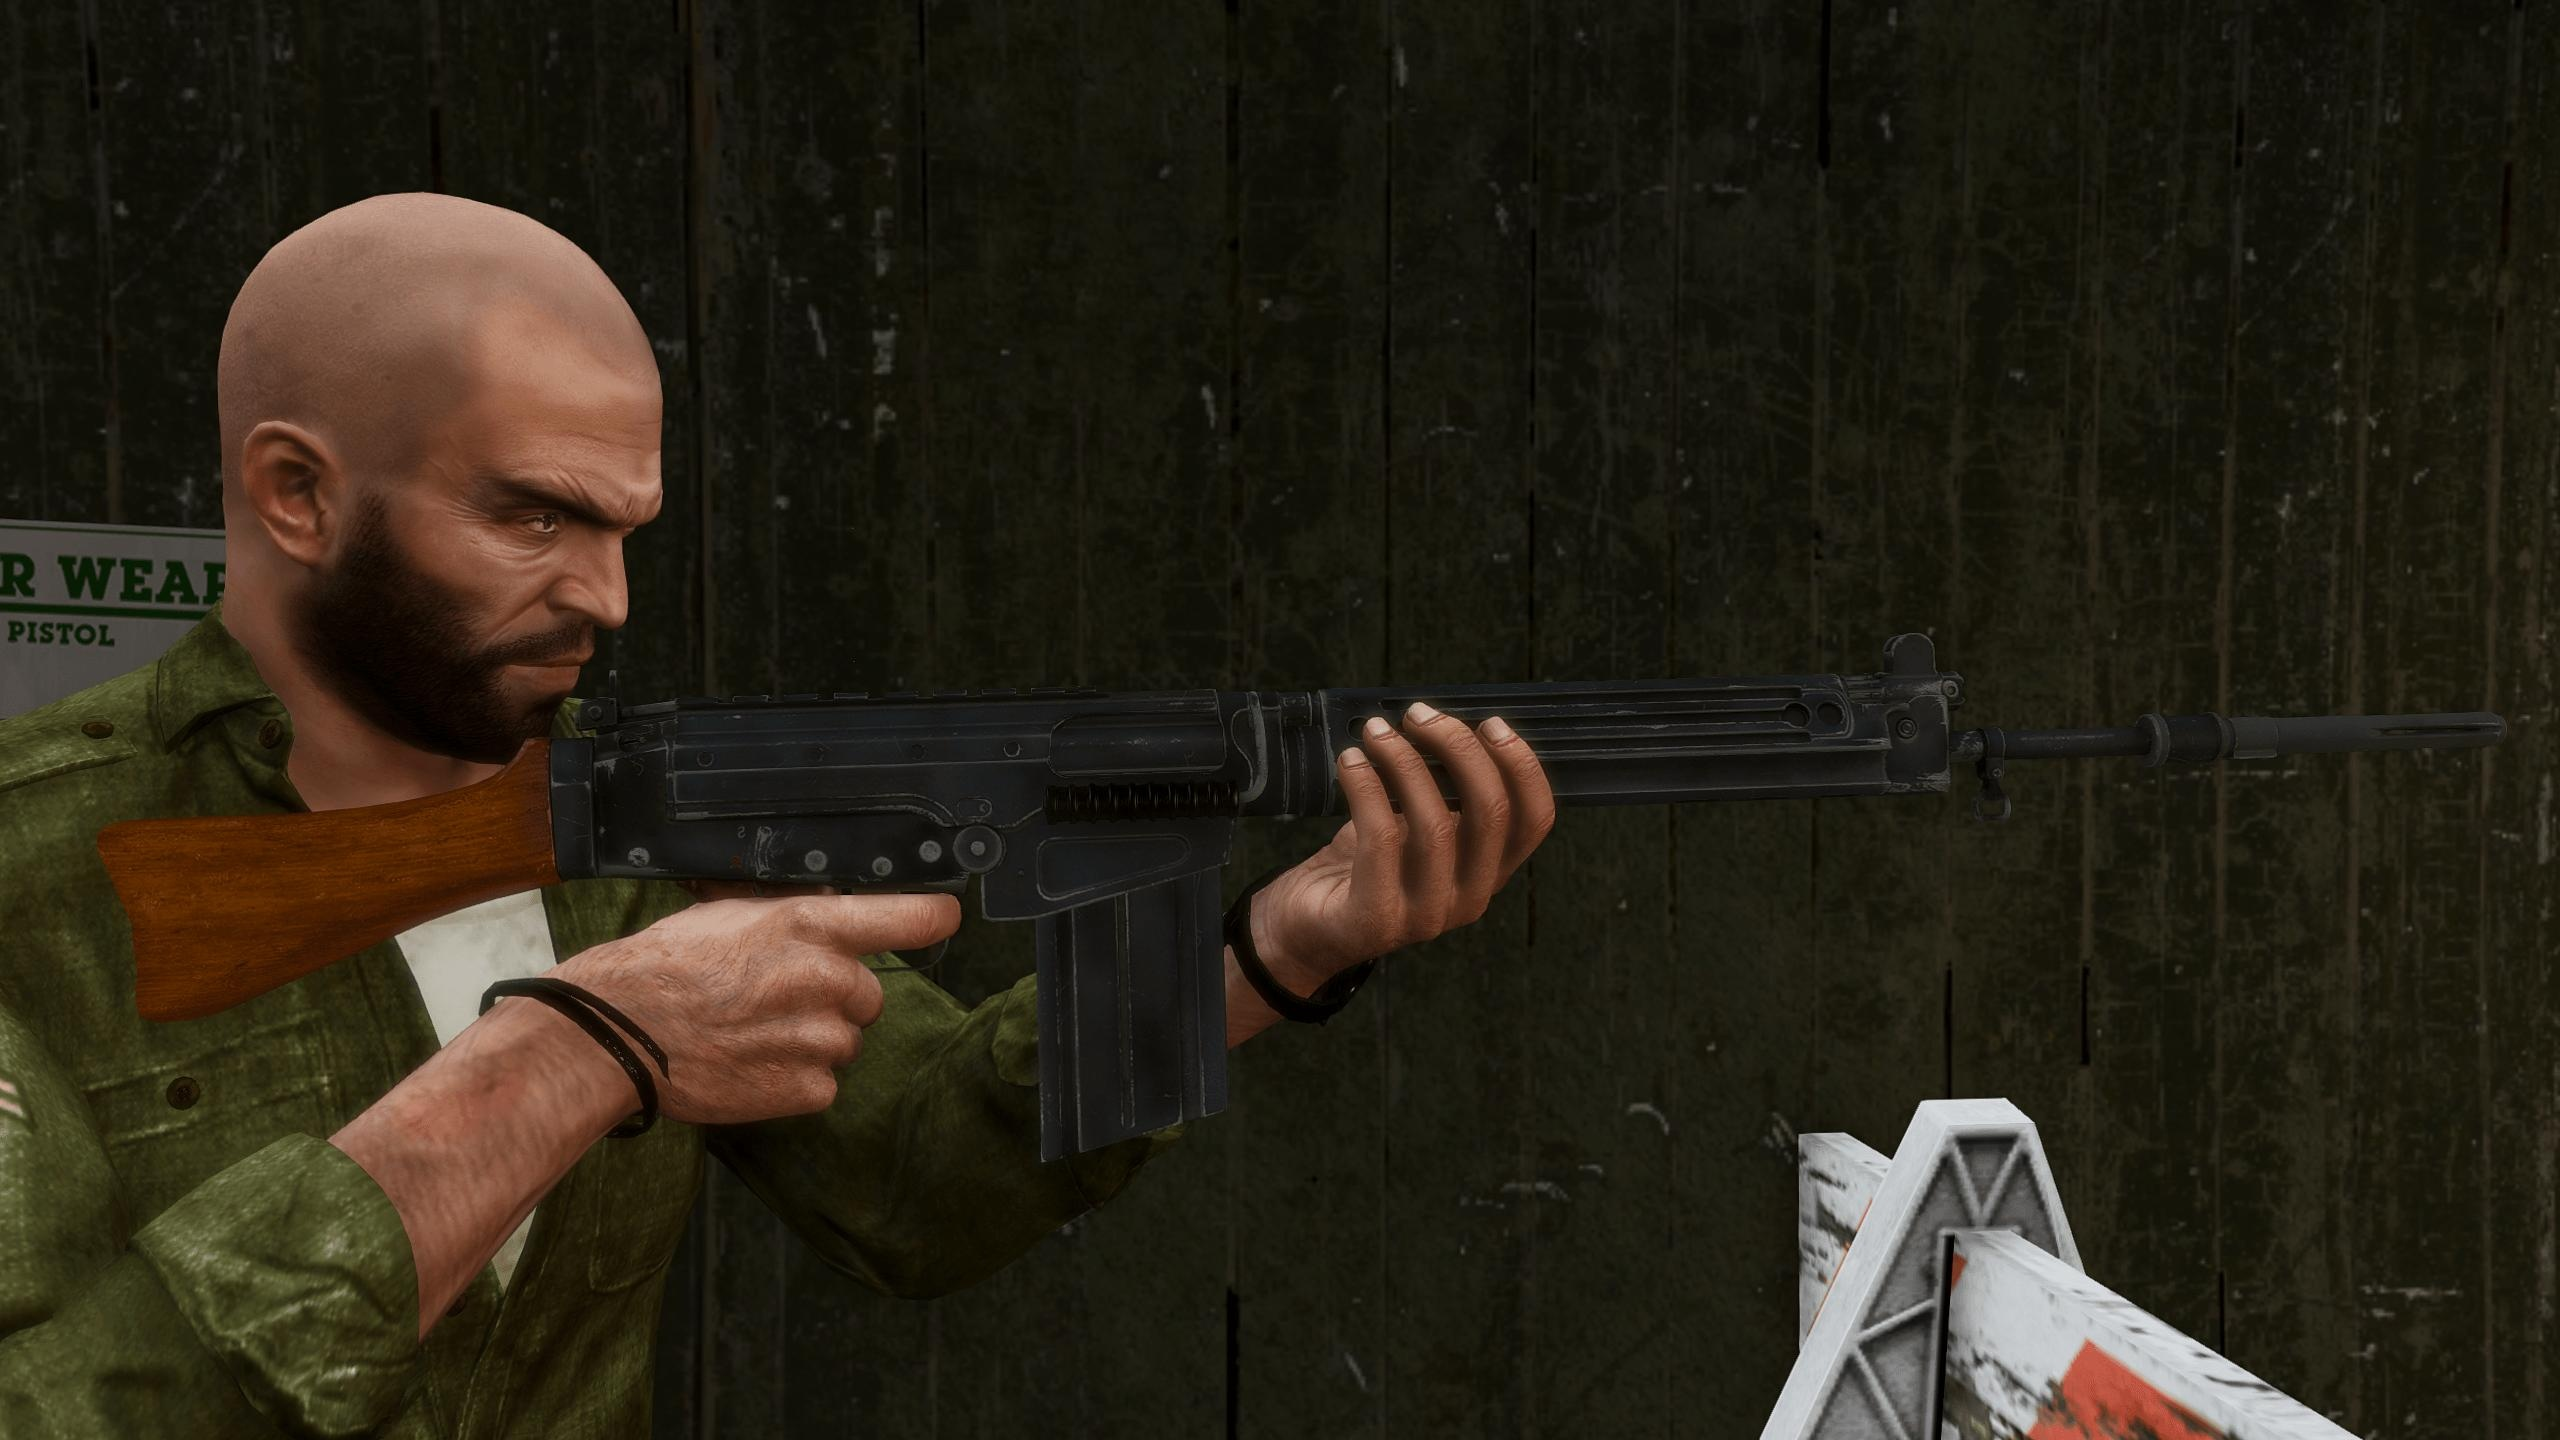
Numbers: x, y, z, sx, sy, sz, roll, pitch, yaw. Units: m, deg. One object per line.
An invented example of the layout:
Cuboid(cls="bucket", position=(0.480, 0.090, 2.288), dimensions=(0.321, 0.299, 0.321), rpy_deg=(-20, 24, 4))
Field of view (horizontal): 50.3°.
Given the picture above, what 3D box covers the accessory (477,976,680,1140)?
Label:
Cuboid(cls="accessory", position=(-1.091, 0.505, 4.281), dimensions=(0.262, 0.250, 0.065), rpy_deg=(33, 22, 1))
